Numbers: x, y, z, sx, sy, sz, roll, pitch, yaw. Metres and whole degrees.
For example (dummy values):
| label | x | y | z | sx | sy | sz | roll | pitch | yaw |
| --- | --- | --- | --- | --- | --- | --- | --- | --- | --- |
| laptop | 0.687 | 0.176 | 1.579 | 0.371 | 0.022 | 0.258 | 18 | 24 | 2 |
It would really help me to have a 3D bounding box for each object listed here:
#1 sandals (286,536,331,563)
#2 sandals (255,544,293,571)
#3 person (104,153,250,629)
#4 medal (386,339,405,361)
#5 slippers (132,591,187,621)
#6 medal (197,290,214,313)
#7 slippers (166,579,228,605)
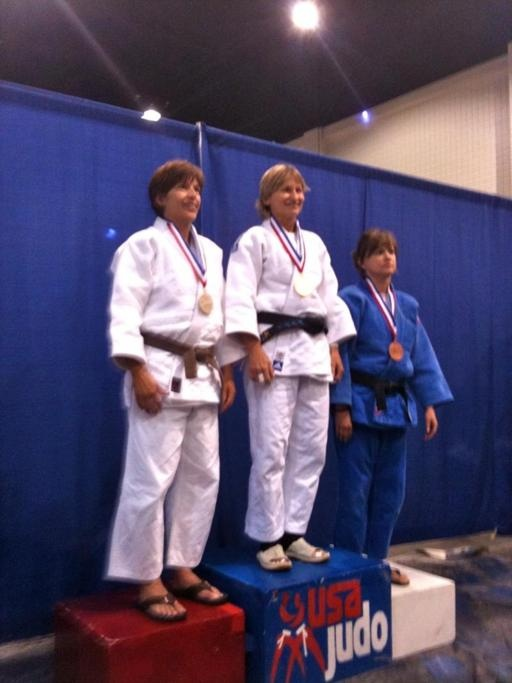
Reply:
| label | x | y | z | sx | sy | sz | roll | pitch | yaw |
| --- | --- | --- | --- | --- | --- | --- | --- | --- | --- |
| sandals | 0.163 | 0.660 | 2.057 | 0.060 | 0.063 | 0.123 | 1 | -5 | -37 |
| sandals | 0.051 | 0.669 | 1.975 | 0.085 | 0.073 | 0.169 | -3 | 4 | -11 |
| person | -0.238 | 0.107 | 1.876 | 0.354 | 1.328 | 0.540 | 0 | 4 | 28 |
| medal | 0.530 | 0.031 | 2.382 | 0.095 | 0.079 | 0.032 | -5 | 5 | -40 |
| slippers | -0.256 | 0.707 | 1.691 | 0.086 | 0.045 | 0.183 | -4 | 4 | -32 |
| medal | -0.154 | -0.119 | 1.865 | 0.008 | 0.075 | 0.045 | -16 | -22 | 37 |
| slippers | -0.168 | 0.703 | 1.826 | 0.148 | 0.059 | 0.062 | -10 | -12 | 35 |
